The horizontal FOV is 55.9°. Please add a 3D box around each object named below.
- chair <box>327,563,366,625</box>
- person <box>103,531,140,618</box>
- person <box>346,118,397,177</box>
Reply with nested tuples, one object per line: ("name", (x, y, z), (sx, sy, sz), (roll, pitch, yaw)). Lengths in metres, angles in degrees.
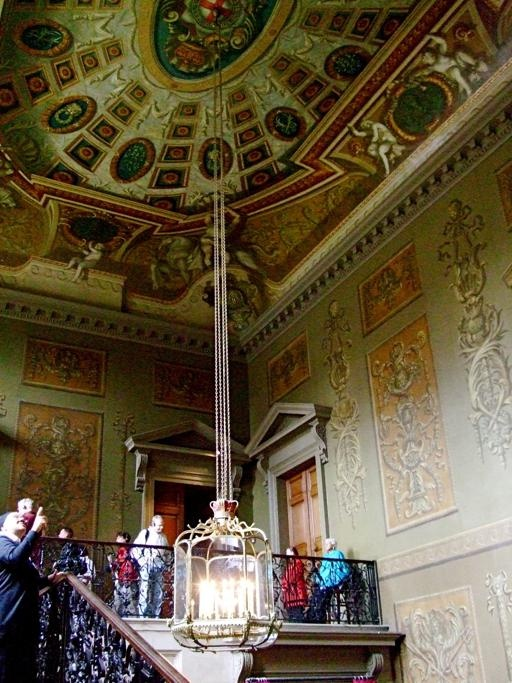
("chair", (1.326, 3.632, 6.982), (0.542, 0.798, 0.362), (-3, -24, 6))
("person", (-1.662, 2.989, 6.033), (0.569, 0.767, 0.388), (-19, -30, 36))
("person", (2.111, -3.441, 8.408), (0.725, 0.760, 0.582), (13, -27, -28))
